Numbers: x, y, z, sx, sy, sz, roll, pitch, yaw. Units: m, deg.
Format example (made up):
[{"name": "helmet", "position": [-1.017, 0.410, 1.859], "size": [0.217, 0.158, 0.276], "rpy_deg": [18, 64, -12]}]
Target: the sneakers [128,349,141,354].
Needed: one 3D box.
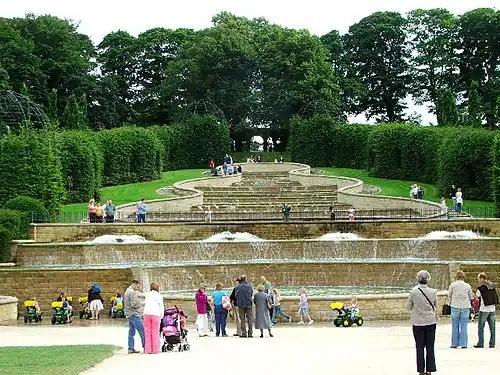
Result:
[{"name": "sneakers", "position": [-4.434, 6.305, 37.484], "size": [0.448, 0.159, 0.141], "rpy_deg": [-2, 5, -10]}]

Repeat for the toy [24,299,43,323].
[{"name": "toy", "position": [-10.129, 5.832, 45.551], "size": [0.687, 0.761, 1.258], "rpy_deg": [-2, -9, -5]}]

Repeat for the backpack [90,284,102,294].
[{"name": "backpack", "position": [-7.194, 4.758, 45.766], "size": [0.424, 0.455, 0.444], "rpy_deg": [0, 2, -6]}]

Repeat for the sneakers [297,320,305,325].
[{"name": "sneakers", "position": [2.296, 6.080, 43.801], "size": [0.185, 0.165, 0.412], "rpy_deg": [1, -2, -19]}]

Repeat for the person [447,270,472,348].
[{"name": "person", "position": [8.328, 4.778, 38.329], "size": [1.138, 2.986, 1.056], "rpy_deg": [7, -7, -45]}]

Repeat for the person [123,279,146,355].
[{"name": "person", "position": [-4.473, 5.100, 38.229], "size": [1.175, 2.751, 1.049], "rpy_deg": [-8, -10, 38]}]

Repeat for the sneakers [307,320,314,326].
[{"name": "sneakers", "position": [2.723, 6.061, 43.742], "size": [0.102, 0.120, 0.303], "rpy_deg": [-15, -1, 36]}]

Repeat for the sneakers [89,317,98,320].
[{"name": "sneakers", "position": [-7.292, 6.146, 45.594], "size": [0.413, 0.146, 0.132], "rpy_deg": [2, -3, 15]}]

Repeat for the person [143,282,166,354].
[{"name": "person", "position": [-3.731, 5.071, 37.767], "size": [0.778, 2.713, 0.471], "rpy_deg": [-1, -2, -7]}]

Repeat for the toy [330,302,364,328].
[{"name": "toy", "position": [4.241, 5.649, 43.220], "size": [1.364, 0.997, 0.911], "rpy_deg": [-2, -3, 22]}]

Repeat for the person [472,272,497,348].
[{"name": "person", "position": [9.214, 4.813, 38.233], "size": [0.897, 2.869, 0.986], "rpy_deg": [-2, -2, 13]}]

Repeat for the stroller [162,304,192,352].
[{"name": "stroller", "position": [-2.901, 5.579, 38.634], "size": [1.234, 1.643, 1.111], "rpy_deg": [0, -3, -10]}]
